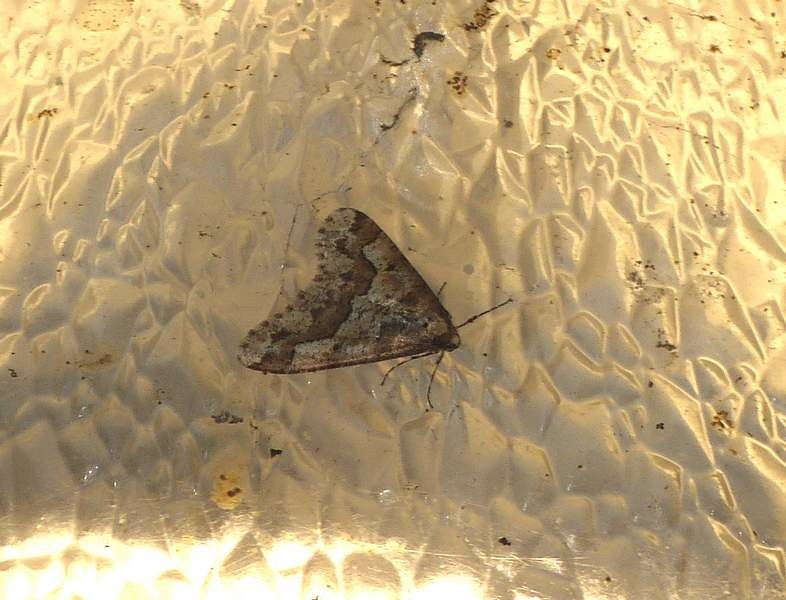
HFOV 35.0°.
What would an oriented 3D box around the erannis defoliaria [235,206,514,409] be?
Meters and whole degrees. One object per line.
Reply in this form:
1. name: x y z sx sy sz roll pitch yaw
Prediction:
1. erannis defoliaria: -0.042 0.010 6.204 1.139 0.226 0.838 16 100 -16
